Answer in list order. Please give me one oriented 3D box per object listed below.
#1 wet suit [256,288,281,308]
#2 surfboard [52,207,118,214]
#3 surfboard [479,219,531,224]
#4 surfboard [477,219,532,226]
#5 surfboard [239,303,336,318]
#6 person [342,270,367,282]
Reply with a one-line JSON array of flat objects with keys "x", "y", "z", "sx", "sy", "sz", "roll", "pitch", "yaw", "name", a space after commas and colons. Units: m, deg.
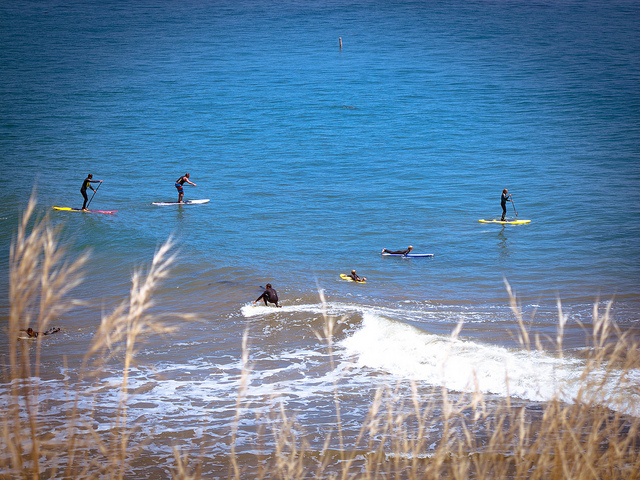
[{"x": -3.191, "y": 3.692, "z": 66.885, "sx": 1.505, "sy": 0.754, "sz": 0.804, "roll": -11, "pitch": 27, "yaw": -21, "name": "wet suit"}, {"x": -17.966, "y": -2.237, "z": 79.727, "sx": 5.113, "sy": 0.321, "sz": 0.707, "roll": 3, "pitch": 4, "yaw": 4, "name": "surfboard"}, {"x": 14.041, "y": -1.392, "z": 78.735, "sx": 4.247, "sy": 0.298, "sz": 0.882, "roll": 1, "pitch": 20, "yaw": 15, "name": "surfboard"}, {"x": 13.885, "y": -1.299, "z": 78.633, "sx": 4.045, "sy": 0.326, "sz": 1.021, "roll": 0, "pitch": 12, "yaw": 14, "name": "surfboard"}, {"x": -2.434, "y": 4.385, "z": 66.373, "sx": 5.222, "sy": 0.623, "sz": 1.338, "roll": -1, "pitch": 3, "yaw": 1, "name": "surfboard"}, {"x": 2.414, "y": 2.374, "z": 70.318, "sx": 1.094, "sy": 0.772, "sz": 1.104, "roll": -4, "pitch": 4, "yaw": -35, "name": "person"}]
